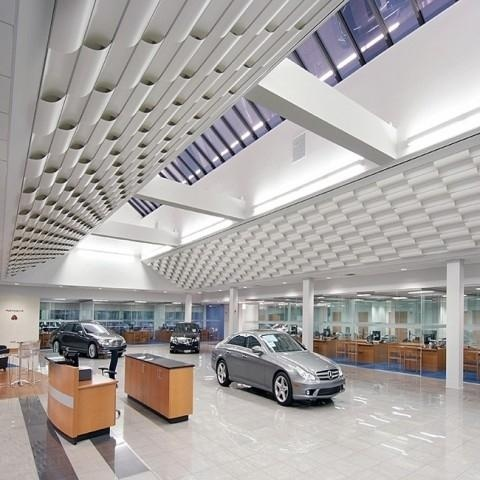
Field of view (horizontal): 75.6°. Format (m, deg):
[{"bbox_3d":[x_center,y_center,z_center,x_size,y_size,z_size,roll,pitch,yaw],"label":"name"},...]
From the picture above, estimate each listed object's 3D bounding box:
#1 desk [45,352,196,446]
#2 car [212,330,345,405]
[{"bbox_3d":[-2.425,2.863,6.067,2.360,1.265,2.082,13,-19,-41],"label":"desk"},{"bbox_3d":[0.793,3.234,8.397,1.501,1.323,3.609,5,-10,-33],"label":"car"}]
